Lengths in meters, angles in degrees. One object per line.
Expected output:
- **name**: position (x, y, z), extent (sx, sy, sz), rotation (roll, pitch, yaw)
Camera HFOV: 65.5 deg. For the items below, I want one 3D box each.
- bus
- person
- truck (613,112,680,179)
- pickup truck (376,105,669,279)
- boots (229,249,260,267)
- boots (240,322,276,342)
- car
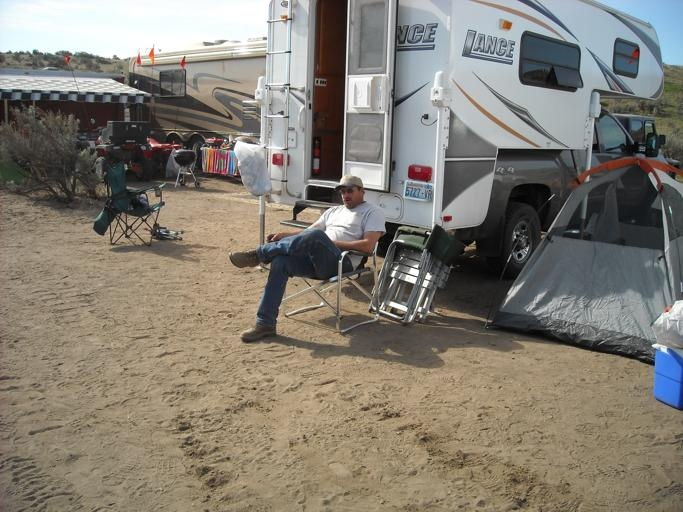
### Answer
- **bus**: position (-4.172, -4.691, 15.646), extent (6.232, 2.833, 0.482), rotation (15, 19, 42)
- **person**: position (-0.328, -0.037, 5.239), extent (0.903, 1.482, 1.496), rotation (15, 18, 37)
- **truck**: position (5.087, -1.882, 8.898), extent (1.645, 0.807, 1.129), rotation (-17, 18, -32)
- **pickup truck**: position (2.633, -0.966, 7.527), extent (3.848, 1.348, 2.067), rotation (-21, 19, -37)
- **boots**: position (-0.975, 0.019, 5.279), extent (0.382, 0.154, 0.120), rotation (-1, 57, -34)
- **boots**: position (-0.760, 0.711, 4.953), extent (0.370, 0.142, 0.140), rotation (-2, 4, -36)
- **car**: position (-5.635, -2.903, 14.326), extent (1.581, 1.119, 2.593), rotation (-11, 23, -39)
